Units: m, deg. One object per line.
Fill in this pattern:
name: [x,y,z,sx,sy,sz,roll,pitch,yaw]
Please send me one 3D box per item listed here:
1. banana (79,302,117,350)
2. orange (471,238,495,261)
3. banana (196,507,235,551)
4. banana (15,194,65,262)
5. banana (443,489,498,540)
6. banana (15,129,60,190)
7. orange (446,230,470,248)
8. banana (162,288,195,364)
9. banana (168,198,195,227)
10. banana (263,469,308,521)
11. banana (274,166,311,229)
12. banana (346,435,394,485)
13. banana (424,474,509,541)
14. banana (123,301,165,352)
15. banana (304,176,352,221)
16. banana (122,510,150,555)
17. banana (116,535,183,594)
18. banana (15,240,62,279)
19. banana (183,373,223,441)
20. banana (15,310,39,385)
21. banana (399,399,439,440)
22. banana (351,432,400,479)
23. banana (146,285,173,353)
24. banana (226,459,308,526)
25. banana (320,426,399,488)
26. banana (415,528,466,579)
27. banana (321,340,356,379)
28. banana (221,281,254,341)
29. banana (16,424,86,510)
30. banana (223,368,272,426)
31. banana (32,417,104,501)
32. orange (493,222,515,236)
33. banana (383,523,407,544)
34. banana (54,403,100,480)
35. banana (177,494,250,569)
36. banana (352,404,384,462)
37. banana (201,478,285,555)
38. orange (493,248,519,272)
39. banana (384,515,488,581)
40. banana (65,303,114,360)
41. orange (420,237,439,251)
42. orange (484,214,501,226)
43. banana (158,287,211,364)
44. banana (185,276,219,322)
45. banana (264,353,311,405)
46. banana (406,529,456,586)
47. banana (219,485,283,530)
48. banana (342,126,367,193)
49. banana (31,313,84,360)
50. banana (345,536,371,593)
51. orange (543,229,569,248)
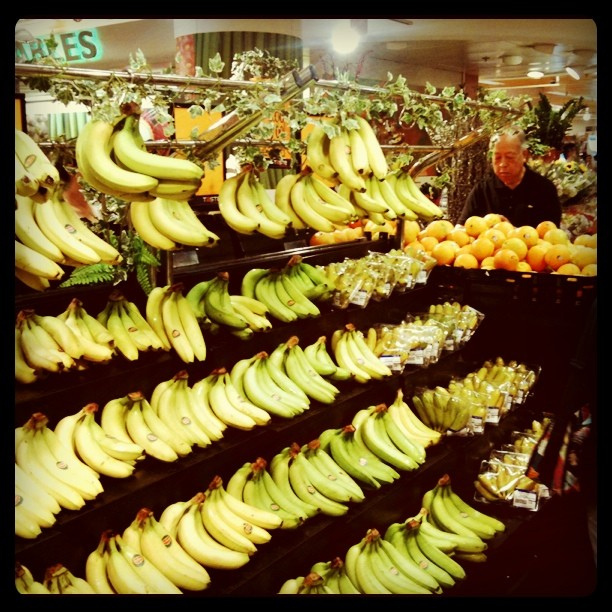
banana: [-0.640,0.066,1.470,0.041,0.170,0.056,-55,-17,24]
orange: [1.025,-0.324,2.766,0.106,0.113,0.101,-12,-28,-21]
banana: [-0.293,0.720,1.527,0.027,0.123,0.044,-45,-12,33]
banana: [-0.690,-0.196,1.232,0.055,0.201,0.073,-32,-3,7]
banana: [0.736,0.963,2.229,0.085,0.149,0.408,-23,2,-11]
banana: [-0.644,-0.338,1.136,0.061,0.176,0.051,-44,-13,34]
orange: [0.929,-0.414,2.970,0.110,0.105,0.135,38,25,24]
banana: [-0.427,0.055,1.677,0.068,0.290,0.102,-10,-12,-26]
banana: [-0.391,-0.289,1.485,0.029,0.127,0.046,-35,-16,-27]
banana: [-0.076,0.693,1.732,0.037,0.199,0.068,-43,-21,-4]
banana: [-0.059,-0.416,1.867,0.074,0.205,0.183,4,-19,42]
banana: [0.264,0.653,2.001,0.250,0.082,0.049,34,-7,17]
banana: [0.748,0.950,2.233,0.370,0.220,0.127,28,28,13]
banana: [-0.531,0.072,1.564,0.046,0.185,0.059,-31,-16,-45]
banana: [0.081,-0.412,1.852,0.061,0.223,0.095,-37,-19,-18]
banana: [-0.505,0.670,1.409,0.076,0.115,0.081,-32,-41,33]
banana: [-0.448,0.736,1.348,0.077,0.227,0.050,-46,9,29]
banana: [-0.678,-0.116,1.208,0.100,0.092,0.066,-5,12,-22]
banana: [-0.351,0.355,1.635,0.053,0.227,0.079,-35,-15,5]
banana: [-0.736,0.115,1.285,0.074,0.185,0.057,-11,-7,43]
banana: [0.556,0.562,2.339,0.032,0.177,0.066,-42,-9,20]
banana: [0.287,0.642,2.028,0.076,0.221,0.036,-46,-5,-44]
banana: [-0.508,0.027,1.684,0.103,0.266,0.070,-19,-23,30]
banana: [-0.124,0.682,1.648,0.116,0.186,0.314,25,-5,-39]
banana: [0.266,0.629,1.990,0.177,0.135,0.393,-6,17,-31]
banana: [0.579,0.979,1.959,0.122,0.073,0.352,12,-29,32]
banana: [0.149,0.243,2.142,0.066,0.175,0.031,-27,-22,-30]
banana: [-0.265,0.026,1.847,0.056,0.246,0.087,-33,-27,14]
banana: [-0.673,0.431,1.252,0.096,0.244,0.054,-45,-1,14]
banana: [-0.215,0.337,1.731,0.275,0.111,0.050,37,9,20]
banana: [-0.649,0.425,1.296,0.108,0.256,0.068,-50,-10,18]
orange: [1.208,-0.467,2.911,0.084,0.057,0.103,0,13,20]
banana: [0.378,0.949,2.016,0.076,0.092,0.025,34,-13,5]
banana: [-0.615,0.386,1.345,0.084,0.161,0.267,23,-5,-23]
banana: [-0.311,0.744,1.529,0.276,0.063,0.168,27,30,37]
banana: [0.258,0.575,2.153,0.175,0.206,0.057,3,-43,-38]
banana: [-0.233,0.692,1.578,0.259,0.153,0.159,29,31,15]
orange: [1.117,-0.259,2.680,0.136,0.130,0.071,6,13,29]
banana: [0.599,1.039,2.053,0.324,0.087,0.235,14,17,-15]
banana: [-0.645,0.082,1.421,0.118,0.180,0.056,-45,-1,18]
orange: [0.748,-0.385,2.909,0.096,0.102,0.086,-2,-41,-11]
orange: [1.151,-0.536,2.955,0.083,0.088,0.081,-3,6,-40]
banana: [-0.421,0.070,1.641,0.127,0.106,0.361,5,39,-40]
banana: [-0.391,-0.021,1.798,0.112,0.049,0.155,-5,49,23]
banana: [-0.079,0.295,1.887,0.044,0.216,0.078,-49,-11,30]
banana: [0.505,1.039,1.954,0.055,0.252,0.090,-38,-23,-11]
banana: [-0.194,0.695,1.636,0.212,0.042,0.081,23,32,9]
banana: [0.180,-0.557,1.792,0.044,0.264,0.100,-19,-7,24]
banana: [-0.672,0.082,1.332,0.251,0.073,0.063,11,17,9]
banana: [0.195,0.974,1.836,0.090,0.212,0.055,19,-31,-11]
orange: [1.404,-0.380,2.698,0.091,0.085,0.100,-18,-29,-23]
